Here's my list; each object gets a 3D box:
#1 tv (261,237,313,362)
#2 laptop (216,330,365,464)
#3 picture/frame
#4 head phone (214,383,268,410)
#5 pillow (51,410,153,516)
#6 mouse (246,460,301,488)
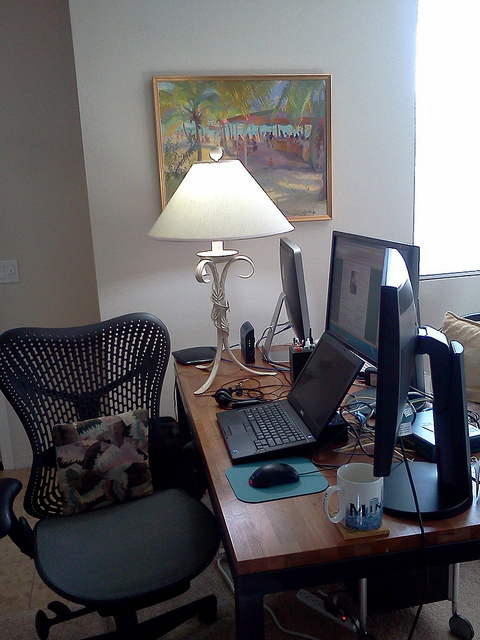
[{"bbox_3d":[0.188,-0.105,2.012,0.153,0.455,0.432,-7,17,-4],"label":"tv"},{"bbox_3d":[0.119,0.144,1.182,0.286,0.227,0.291,-4,17,-7],"label":"laptop"},{"bbox_3d":[-0.009,-0.794,2.091,0.787,0.698,0.032,-5,17,-10],"label":"picture/frame"},{"bbox_3d":[-0.006,0.237,1.468,0.087,0.031,0.081,-8,14,-5],"label":"head phone"},{"bbox_3d":[-0.397,0.420,1.372,0.230,0.243,0.089,-8,-2,-17],"label":"pillow"},{"bbox_3d":[0.069,0.305,0.968,0.082,0.033,0.048,3,5,-15],"label":"mouse"}]
